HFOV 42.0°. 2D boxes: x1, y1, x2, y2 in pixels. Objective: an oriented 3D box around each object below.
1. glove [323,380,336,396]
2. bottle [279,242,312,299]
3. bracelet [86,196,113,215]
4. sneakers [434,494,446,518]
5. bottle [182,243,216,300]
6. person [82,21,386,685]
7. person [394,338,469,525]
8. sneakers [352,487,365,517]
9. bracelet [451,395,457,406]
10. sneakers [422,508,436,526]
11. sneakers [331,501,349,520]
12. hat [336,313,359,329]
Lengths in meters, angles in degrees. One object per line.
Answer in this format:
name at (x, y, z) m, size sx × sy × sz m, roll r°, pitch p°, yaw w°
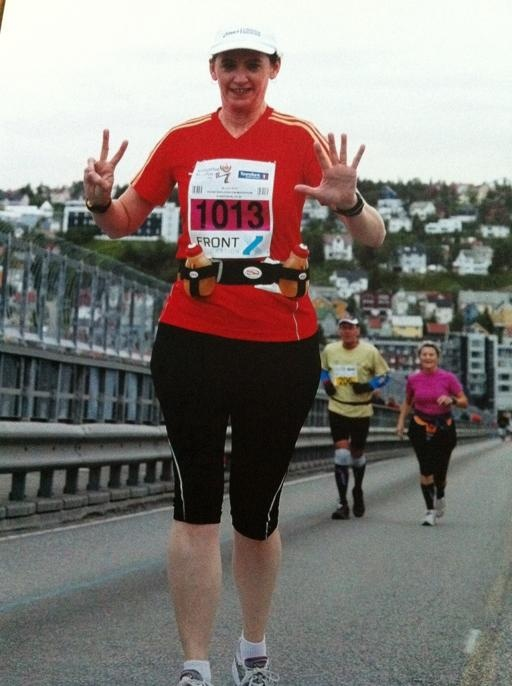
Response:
glove at (0.829, 0.492, 7.548) m, size 0.120 × 0.158 × 0.053 m, roll -14°, pitch -11°, yaw -24°
bottle at (0.108, -0.192, 1.722) m, size 0.087 × 0.132 × 0.054 m, roll -6°, pitch 13°, yaw -34°
bracelet at (-0.443, -0.399, 1.893) m, size 0.056 × 0.022 × 0.062 m, roll 0°, pitch -2°, yaw -4°
sneakers at (1.824, 1.623, 6.655) m, size 0.090 × 0.235 × 0.101 m, roll -3°, pitch -12°, yaw 24°
bottle at (-0.147, -0.185, 1.699) m, size 0.075 × 0.136 × 0.055 m, roll 3°, pitch 6°, yaw 29°
person at (-0.093, 0.068, 1.832) m, size 0.751 × 1.817 × 0.465 m, roll 2°, pitch 5°, yaw 19°
person at (1.857, 0.841, 6.976) m, size 0.633 × 1.709 × 0.943 m, roll 0°, pitch 5°, yaw 0°
sneakers at (1.084, 1.699, 7.110) m, size 0.102 × 0.269 × 0.185 m, roll -3°, pitch -16°, yaw 7°
bracelet at (2.061, 0.596, 7.000) m, size 0.075 × 0.078 × 0.065 m, roll -12°, pitch 21°, yaw -26°
sneakers at (1.613, 1.647, 6.257) m, size 0.124 × 0.138 × 0.260 m, roll 1°, pitch 6°, yaw 13°
sneakers at (0.864, 1.738, 6.883) m, size 0.185 × 0.173 × 0.122 m, roll -2°, pitch -4°, yaw -4°
hat at (1.073, -0.274, 7.801) m, size 0.245 × 0.122 × 0.349 m, roll -2°, pitch -10°, yaw 15°
